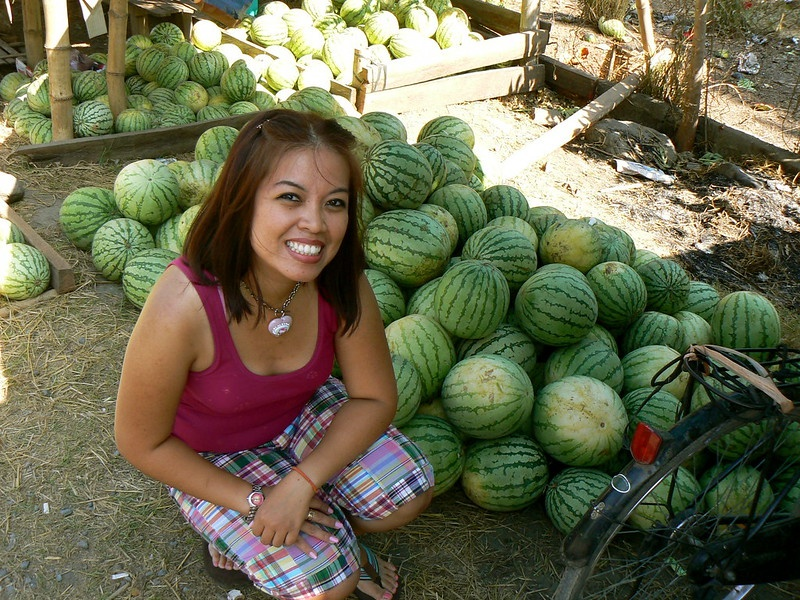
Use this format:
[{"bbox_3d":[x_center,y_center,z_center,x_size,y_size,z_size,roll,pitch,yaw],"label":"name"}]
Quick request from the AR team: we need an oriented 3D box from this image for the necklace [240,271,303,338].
[{"bbox_3d":[-0.442,0.010,2.009,0.133,0.065,0.223,-19,72,-12],"label":"necklace"}]

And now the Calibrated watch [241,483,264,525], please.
[{"bbox_3d":[-0.504,0.697,2.000,0.065,0.116,0.121,18,74,-5],"label":"Calibrated watch"}]

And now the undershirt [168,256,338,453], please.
[{"bbox_3d":[-0.514,0.119,2.189,0.597,0.809,0.489,-24,58,-40],"label":"undershirt"}]
